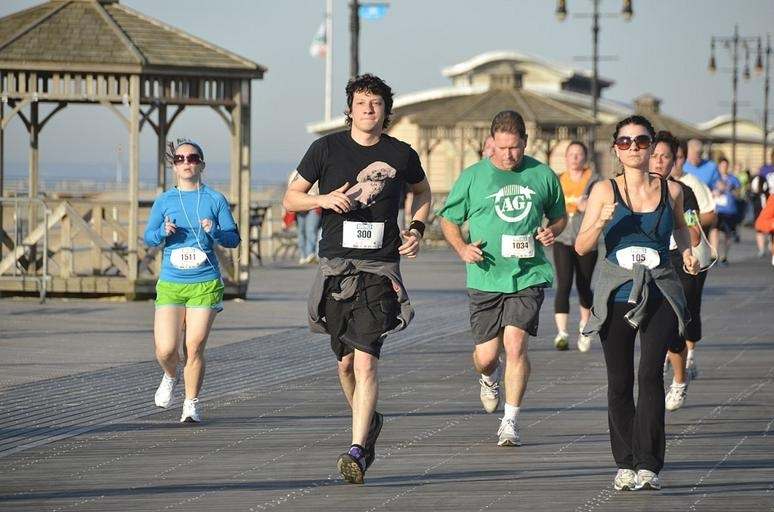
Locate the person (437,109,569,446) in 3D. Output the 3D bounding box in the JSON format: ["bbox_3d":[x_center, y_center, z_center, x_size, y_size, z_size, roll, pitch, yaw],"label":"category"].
[{"bbox_3d":[1.068,0.168,14.568,1.045,3.014,1.040,3,10,12],"label":"person"}]

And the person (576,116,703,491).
[{"bbox_3d":[2.051,0.403,13.337,0.882,3.147,0.679,6,11,30],"label":"person"}]

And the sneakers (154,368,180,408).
[{"bbox_3d":[-2.164,1.322,15.242,0.168,0.412,0.197,14,-7,-8],"label":"sneakers"}]

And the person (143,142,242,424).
[{"bbox_3d":[-1.976,0.234,15.074,0.822,2.605,0.791,4,11,20],"label":"person"}]

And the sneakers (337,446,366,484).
[{"bbox_3d":[-0.299,1.799,13.365,0.234,0.341,0.230,1,10,2],"label":"sneakers"}]

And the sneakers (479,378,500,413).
[{"bbox_3d":[0.974,1.359,15.055,0.158,0.358,0.149,4,21,17],"label":"sneakers"}]

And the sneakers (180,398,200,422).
[{"bbox_3d":[-1.878,1.481,14.917,0.186,0.222,0.167,-1,10,-7],"label":"sneakers"}]

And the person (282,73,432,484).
[{"bbox_3d":[-0.299,0.151,13.715,1.003,3.444,1.374,4,11,21],"label":"person"}]

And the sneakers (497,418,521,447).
[{"bbox_3d":[1.113,1.623,14.374,0.217,0.231,0.276,1,10,4],"label":"sneakers"}]
